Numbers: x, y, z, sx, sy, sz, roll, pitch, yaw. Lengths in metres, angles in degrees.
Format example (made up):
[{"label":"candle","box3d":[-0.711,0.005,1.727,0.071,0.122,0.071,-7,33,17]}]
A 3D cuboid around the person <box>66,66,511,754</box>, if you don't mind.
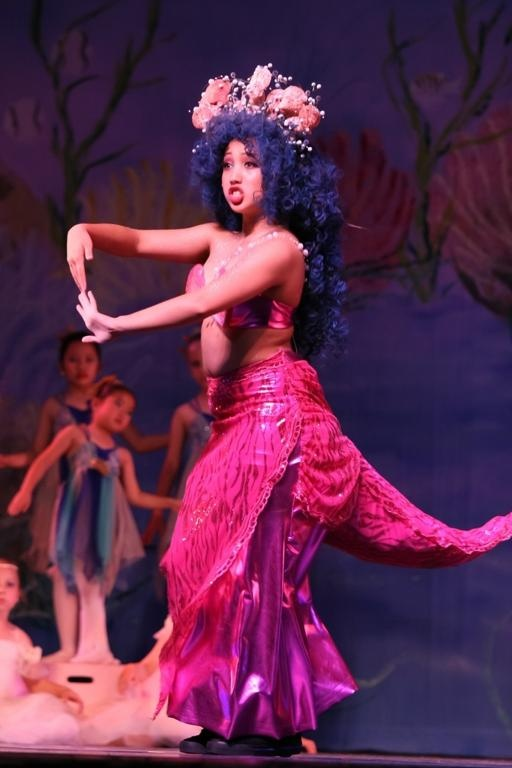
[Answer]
[{"label":"person","box3d":[-0.006,0.008,2.029,0.919,1.525,0.619,-12,11,-39]}]
